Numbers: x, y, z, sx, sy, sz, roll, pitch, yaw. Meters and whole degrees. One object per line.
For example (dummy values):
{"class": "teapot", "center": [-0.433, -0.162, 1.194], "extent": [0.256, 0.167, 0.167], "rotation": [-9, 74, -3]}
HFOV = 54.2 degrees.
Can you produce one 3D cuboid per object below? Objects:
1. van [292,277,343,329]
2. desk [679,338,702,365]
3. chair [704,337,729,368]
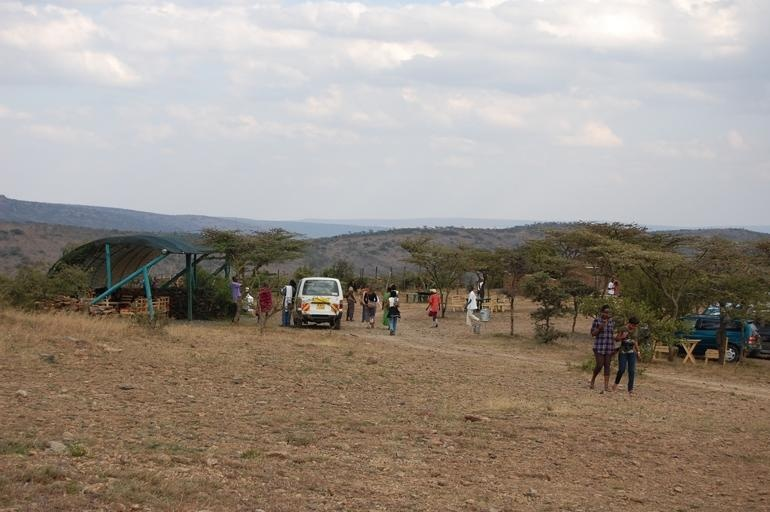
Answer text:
{"class": "van", "center": [-2.712, 1.661, 29.659], "extent": [1.359, 1.158, 2.402], "rotation": [1, 5, -10]}
{"class": "desk", "center": [11.084, 3.420, 27.455], "extent": [0.988, 0.989, 1.058], "rotation": [0, -2, 21]}
{"class": "chair", "center": [11.979, 3.390, 26.909], "extent": [1.023, 1.331, 0.913], "rotation": [0, -1, 21]}
